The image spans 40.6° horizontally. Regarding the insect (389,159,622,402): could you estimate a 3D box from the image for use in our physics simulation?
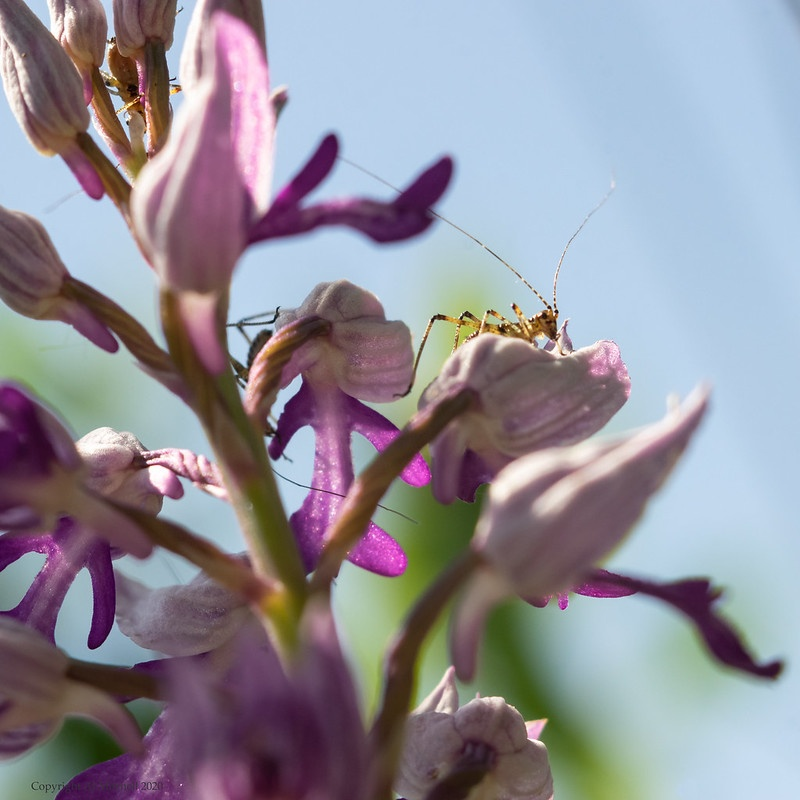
[{"bbox_3d":[0.227,-0.191,2.146,0.341,0.254,0.298,-19,-5,42],"label":"insect"}]
